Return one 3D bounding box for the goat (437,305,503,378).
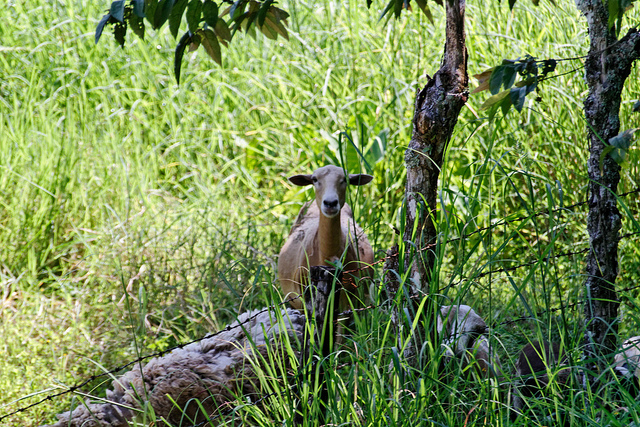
[{"bbox_3d":[1.091,0.872,7.005,0.454,0.627,0.727,-1,15,7],"label":"goat"}]
